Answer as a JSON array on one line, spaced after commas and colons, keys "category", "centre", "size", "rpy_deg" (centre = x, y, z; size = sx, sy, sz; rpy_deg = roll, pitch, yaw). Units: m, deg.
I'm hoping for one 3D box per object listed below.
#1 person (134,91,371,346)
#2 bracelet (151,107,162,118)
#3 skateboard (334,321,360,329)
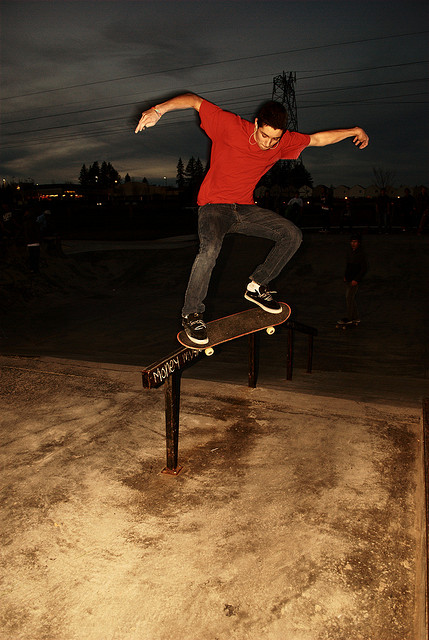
[{"category": "person", "centre": [0.239, -0.799, 3.971], "size": [0.907, 1.844, 1.593], "rpy_deg": [6, 15, 26]}, {"category": "bracelet", "centre": [-0.396, -1.393, 3.363], "size": [0.029, 0.073, 0.056], "rpy_deg": [-41, -15, -8]}, {"category": "skateboard", "centre": [2.972, 0.126, 11.147], "size": [0.570, 0.222, 0.178], "rpy_deg": [-2, 13, 2]}]
